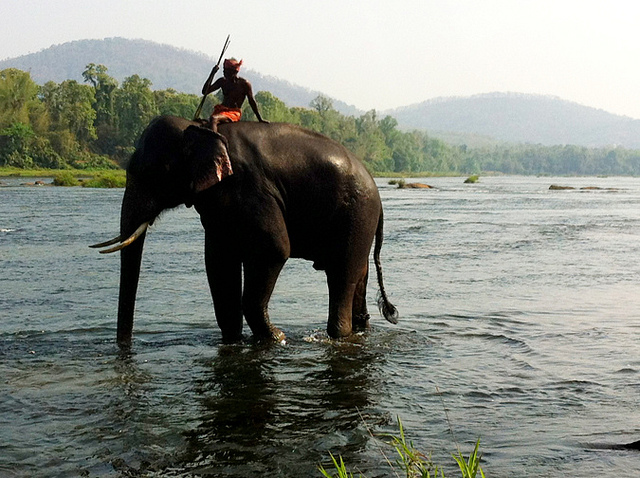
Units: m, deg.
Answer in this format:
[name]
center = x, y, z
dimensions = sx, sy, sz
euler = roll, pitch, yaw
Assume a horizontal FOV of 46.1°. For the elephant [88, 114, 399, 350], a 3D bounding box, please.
[elephant]
center = -0.740, -0.052, 8.266
dimensions = 3.710, 2.460, 1.365
euler = -1, 5, -20
